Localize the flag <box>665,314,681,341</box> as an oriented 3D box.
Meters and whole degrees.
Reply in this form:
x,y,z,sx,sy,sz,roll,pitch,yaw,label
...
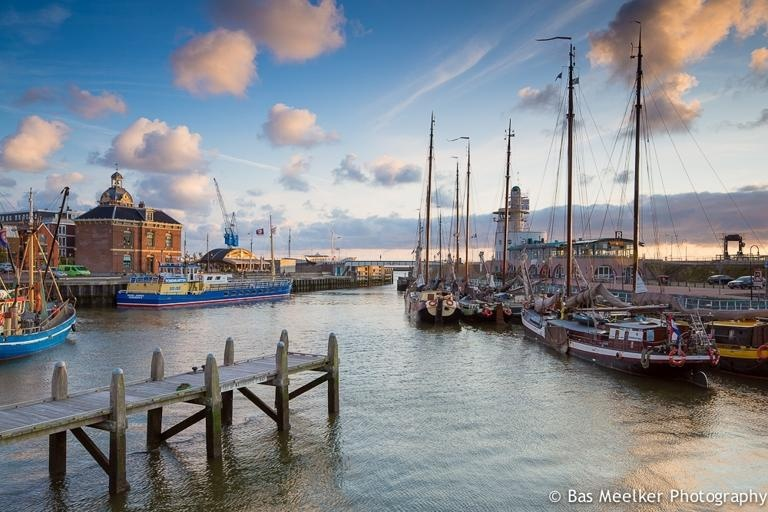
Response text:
x,y,z,sx,sy,sz,roll,pitch,yaw,label
19.326,4.869,41.092,0.377,1.543,0.931,-10,0,40,flag

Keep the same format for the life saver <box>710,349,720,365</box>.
x,y,z,sx,sy,sz,roll,pitch,yaw,label
21.705,6.521,40.061,0.309,1.001,1.013,4,-21,13,life saver

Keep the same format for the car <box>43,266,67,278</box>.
x,y,z,sx,sy,sz,roll,pitch,yaw,label
-42.928,2.199,80.405,3.849,1.262,1.790,6,4,23,car
